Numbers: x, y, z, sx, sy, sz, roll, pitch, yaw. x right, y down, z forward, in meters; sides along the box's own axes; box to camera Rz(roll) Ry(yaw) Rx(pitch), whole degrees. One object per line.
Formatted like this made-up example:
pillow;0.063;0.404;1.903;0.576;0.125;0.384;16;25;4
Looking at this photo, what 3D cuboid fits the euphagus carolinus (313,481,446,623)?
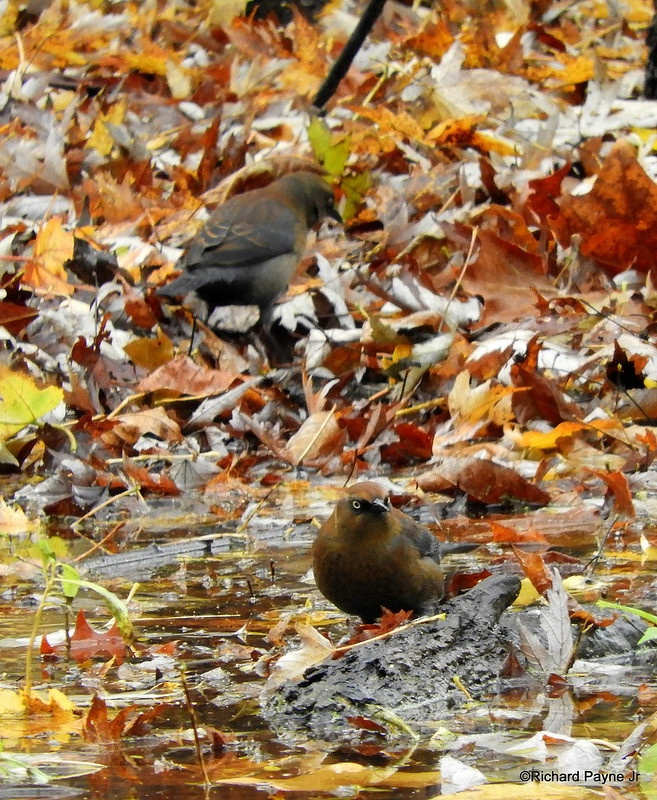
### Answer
euphagus carolinus;0.122;0.307;2.075;0.208;0.282;0.300;-7;-9;44
